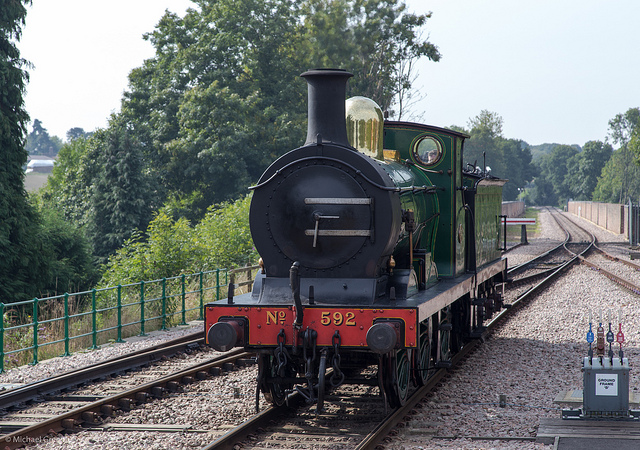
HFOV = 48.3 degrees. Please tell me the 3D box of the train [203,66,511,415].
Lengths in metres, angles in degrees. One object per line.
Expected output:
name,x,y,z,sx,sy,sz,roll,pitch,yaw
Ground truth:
train,1.099,0.247,13.287,2.707,3.915,6.237,-3,-2,30
